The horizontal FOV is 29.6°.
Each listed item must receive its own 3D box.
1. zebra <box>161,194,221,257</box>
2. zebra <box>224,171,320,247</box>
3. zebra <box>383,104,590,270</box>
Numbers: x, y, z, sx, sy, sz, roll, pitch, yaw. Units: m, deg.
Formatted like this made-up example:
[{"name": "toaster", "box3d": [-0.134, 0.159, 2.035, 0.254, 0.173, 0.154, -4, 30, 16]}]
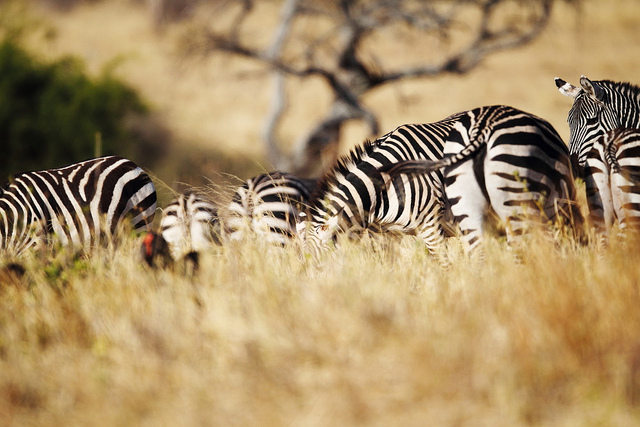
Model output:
[{"name": "zebra", "box3d": [-1.323, 0.145, 12.625, 0.353, 0.606, 0.843, -8, 30, -6]}, {"name": "zebra", "box3d": [-0.534, 0.028, 13.114, 0.379, 0.989, 1.283, 17, -6, -18]}, {"name": "zebra", "box3d": [1.841, -0.227, 12.130, 1.639, 1.098, 1.244, -6, 38, 7]}]
